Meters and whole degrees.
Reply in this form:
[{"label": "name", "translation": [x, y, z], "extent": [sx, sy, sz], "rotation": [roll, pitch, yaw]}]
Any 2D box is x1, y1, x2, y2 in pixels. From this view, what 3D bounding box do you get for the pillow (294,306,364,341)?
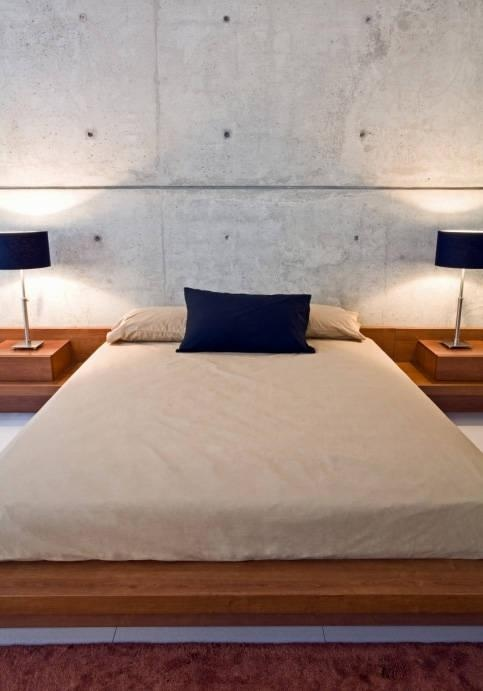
[{"label": "pillow", "translation": [0.503, -0.114, 3.460], "extent": [0.234, 0.067, 0.228], "rotation": [4, 19, 11]}]
